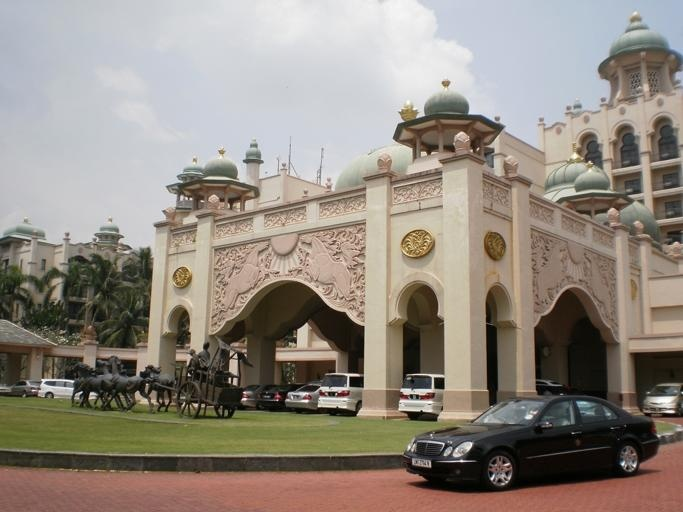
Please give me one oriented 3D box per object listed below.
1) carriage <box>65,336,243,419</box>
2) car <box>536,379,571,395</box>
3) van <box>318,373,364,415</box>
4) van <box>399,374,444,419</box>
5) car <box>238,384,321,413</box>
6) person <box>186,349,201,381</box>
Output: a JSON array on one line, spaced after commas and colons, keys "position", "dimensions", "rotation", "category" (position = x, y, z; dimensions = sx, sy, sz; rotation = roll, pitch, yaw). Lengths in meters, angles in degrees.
[{"position": [-6.749, 4.418, 24.761], "dimensions": [6.776, 2.560, 1.826], "rotation": [0, -18, 20], "category": "carriage"}, {"position": [8.684, 5.396, 28.865], "dimensions": [1.301, 0.704, 2.209], "rotation": [-3, -17, 17], "category": "car"}, {"position": [-0.064, 5.419, 27.772], "dimensions": [1.139, 1.073, 2.125], "rotation": [-4, -8, 30], "category": "van"}, {"position": [2.790, 4.920, 24.795], "dimensions": [1.046, 1.066, 1.947], "rotation": [-4, -7, 32], "category": "van"}, {"position": [-3.188, 6.922, 32.516], "dimensions": [1.636, 1.249, 4.092], "rotation": [-3, -9, 23], "category": "car"}, {"position": [-5.047, 3.751, 24.130], "dimensions": [0.437, 1.175, 2.192], "rotation": [5, -16, -11], "category": "person"}]
